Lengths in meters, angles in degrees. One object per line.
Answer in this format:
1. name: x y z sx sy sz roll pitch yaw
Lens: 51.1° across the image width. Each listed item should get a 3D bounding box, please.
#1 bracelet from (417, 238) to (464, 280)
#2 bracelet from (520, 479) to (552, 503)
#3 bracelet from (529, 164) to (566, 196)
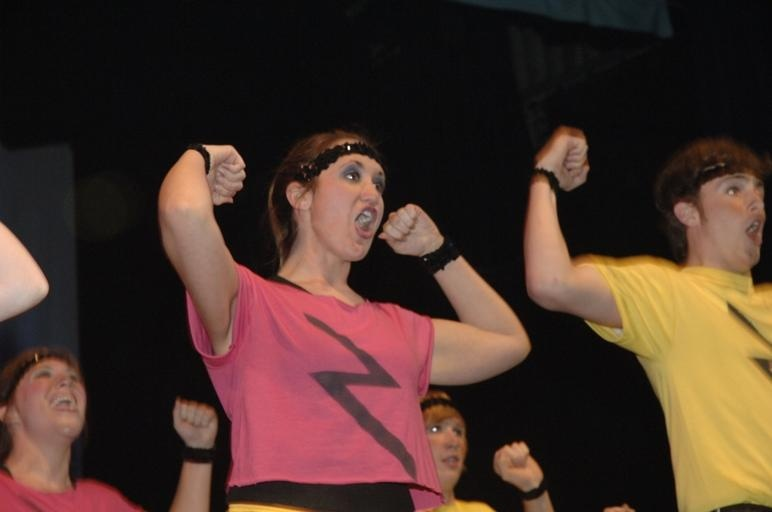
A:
1. bracelet: 0.287 0.011 4.302 0.202 0.110 0.159 -36 7 -16
2. bracelet: 0.907 1.440 4.969 0.120 0.053 0.125 -19 13 0
3. bracelet: 0.812 -0.385 4.117 0.087 0.120 0.143 -39 0 1
